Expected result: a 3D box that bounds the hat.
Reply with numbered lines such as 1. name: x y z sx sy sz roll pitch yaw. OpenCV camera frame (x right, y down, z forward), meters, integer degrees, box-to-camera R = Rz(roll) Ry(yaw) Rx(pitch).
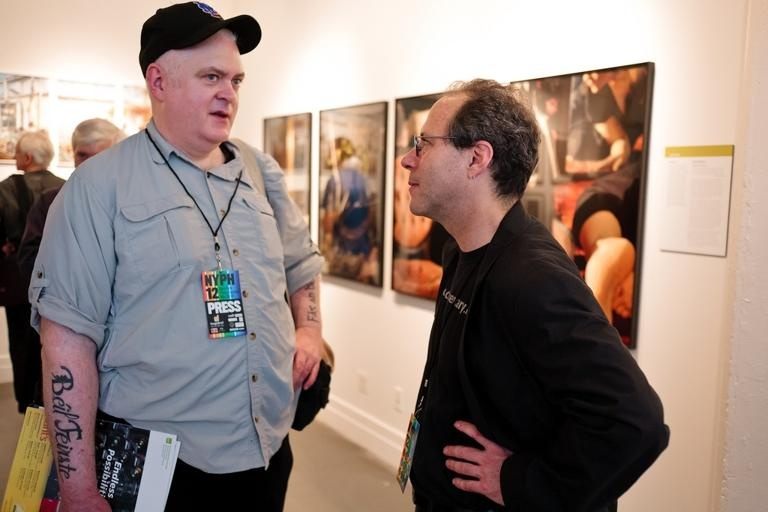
1. hat: -0.778 -0.912 2.500 0.482 0.243 0.315 -24 10 12
